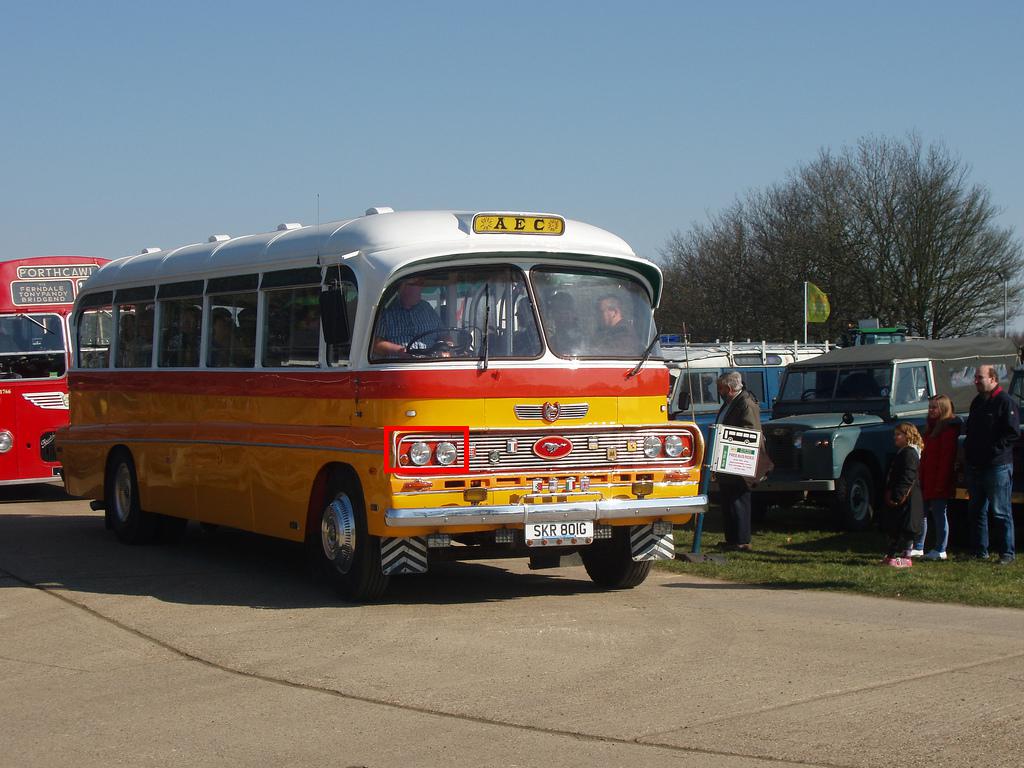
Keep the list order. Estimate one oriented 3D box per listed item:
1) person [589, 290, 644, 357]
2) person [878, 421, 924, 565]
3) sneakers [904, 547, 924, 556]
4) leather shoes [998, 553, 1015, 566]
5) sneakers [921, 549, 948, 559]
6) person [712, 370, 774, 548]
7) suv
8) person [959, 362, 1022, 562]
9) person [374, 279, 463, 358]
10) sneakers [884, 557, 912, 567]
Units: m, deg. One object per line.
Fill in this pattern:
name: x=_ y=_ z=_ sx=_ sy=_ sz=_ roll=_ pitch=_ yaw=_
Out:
person: x=1.036 y=-0.539 z=12.554 sx=0.520 sy=0.624 sz=0.918 roll=-6 pitch=2 yaw=14
person: x=4.634 y=1.286 z=14.411 sx=0.456 sy=1.589 sz=1.028 roll=0 pitch=3 yaw=18
sneakers: x=4.819 y=2.007 z=14.576 sx=0.187 sy=0.102 sz=0.118 roll=-17 pitch=0 yaw=14
leather shoes: x=5.638 y=1.990 z=13.935 sx=0.160 sy=0.110 sz=0.286 roll=1 pitch=3 yaw=36
sneakers: x=5.071 y=2.036 z=14.598 sx=0.322 sy=0.143 sz=0.112 roll=3 pitch=-2 yaw=20
person: x=2.889 y=0.984 z=15.527 sx=0.551 sy=2.253 sz=1.288 roll=0 pitch=2 yaw=9
suv: x=5.526 y=0.597 z=19.944 sx=4.671 sy=2.616 sz=2.364 roll=1 pitch=-4 yaw=-39
person: x=5.627 y=0.917 z=14.196 sx=0.455 sy=2.240 sz=0.674 roll=-1 pitch=3 yaw=-23
person: x=-0.949 y=-0.608 z=11.768 sx=0.630 sy=0.934 sz=0.493 roll=3 pitch=-14 yaw=-26
sneakers: x=4.477 y=2.054 z=14.107 sx=0.315 sy=0.138 sz=0.118 roll=3 pitch=9 yaw=15
